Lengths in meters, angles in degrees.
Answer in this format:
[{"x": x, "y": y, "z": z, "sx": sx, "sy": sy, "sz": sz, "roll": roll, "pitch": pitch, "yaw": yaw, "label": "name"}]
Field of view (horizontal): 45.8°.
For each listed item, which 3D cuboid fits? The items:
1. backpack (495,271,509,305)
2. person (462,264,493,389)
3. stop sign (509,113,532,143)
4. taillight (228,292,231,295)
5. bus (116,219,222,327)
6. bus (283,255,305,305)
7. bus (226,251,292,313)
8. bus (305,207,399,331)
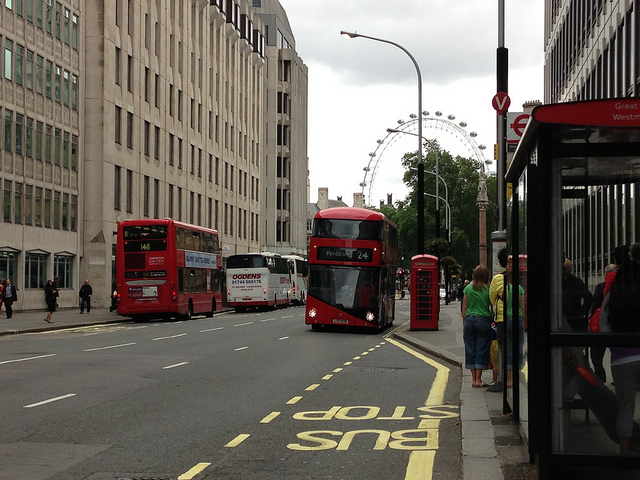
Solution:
[{"x": 2.743, "y": 0.737, "z": 11.395, "sx": 0.213, "sy": 0.563, "sz": 0.375, "roll": 1, "pitch": -8, "yaw": 0, "label": "backpack"}, {"x": 2.769, "y": 1.351, "z": 13.207, "sx": 0.504, "sy": 1.766, "sz": 0.450, "roll": 3, "pitch": -3, "yaw": 14, "label": "person"}, {"x": 3.566, "y": -2.028, "z": 13.602, "sx": 0.263, "sy": 0.620, "sz": 0.870, "roll": 3, "pitch": -4, "yaw": 4, "label": "stop sign"}, {"x": -6.182, "y": 3.672, "z": 51.937, "sx": 0.127, "sy": 0.114, "sz": 0.080, "roll": 0, "pitch": 0, "yaw": 0, "label": "taillight"}, {"x": -7.567, "y": 1.814, "z": 41.087, "sx": 2.561, "sy": 5.308, "sz": 8.916, "roll": -3, "pitch": -3, "yaw": 11, "label": "bus"}, {"x": -2.823, "y": 3.534, "z": 66.460, "sx": 2.276, "sy": 4.177, "sz": 8.062, "roll": -3, "pitch": -2, "yaw": -1, "label": "bus"}, {"x": -3.943, "y": 3.083, "z": 55.757, "sx": 2.658, "sy": 4.601, "sz": 9.000, "roll": -2, "pitch": -3, "yaw": 13, "label": "bus"}, {"x": 1.303, "y": 1.155, "z": 30.128, "sx": 2.504, "sy": 5.726, "sz": 3.468, "roll": -3, "pitch": -2, "yaw": 18, "label": "bus"}]
